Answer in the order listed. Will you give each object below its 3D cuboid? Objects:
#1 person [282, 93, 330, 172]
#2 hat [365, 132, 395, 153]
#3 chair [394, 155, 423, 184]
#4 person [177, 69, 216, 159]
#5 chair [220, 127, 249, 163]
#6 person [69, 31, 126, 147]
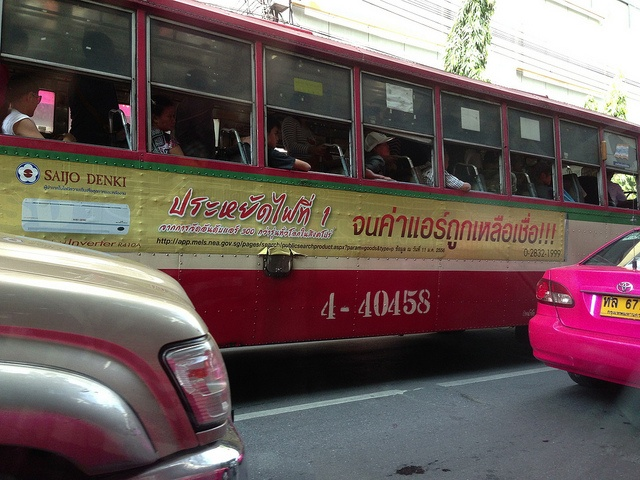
[{"bbox_3d":[-0.205,-0.984,5.873,0.426,1.334,0.531,2,15,9],"label":"person"},{"bbox_3d":[0.663,-1.135,5.988,0.261,0.142,0.194,-23,17,5],"label":"hat"},{"bbox_3d":[1.019,-0.851,6.377,0.361,0.381,0.227,-3,-3,-6],"label":"chair"},{"bbox_3d":[-1.225,-1.234,5.132,0.368,0.840,0.235,0,1,-17],"label":"person"},{"bbox_3d":[-0.844,-0.979,5.403,0.200,0.427,0.453,0,1,-28],"label":"chair"},{"bbox_3d":[-2.036,-1.365,4.765,0.468,1.012,0.276,0,1,-14],"label":"person"}]
